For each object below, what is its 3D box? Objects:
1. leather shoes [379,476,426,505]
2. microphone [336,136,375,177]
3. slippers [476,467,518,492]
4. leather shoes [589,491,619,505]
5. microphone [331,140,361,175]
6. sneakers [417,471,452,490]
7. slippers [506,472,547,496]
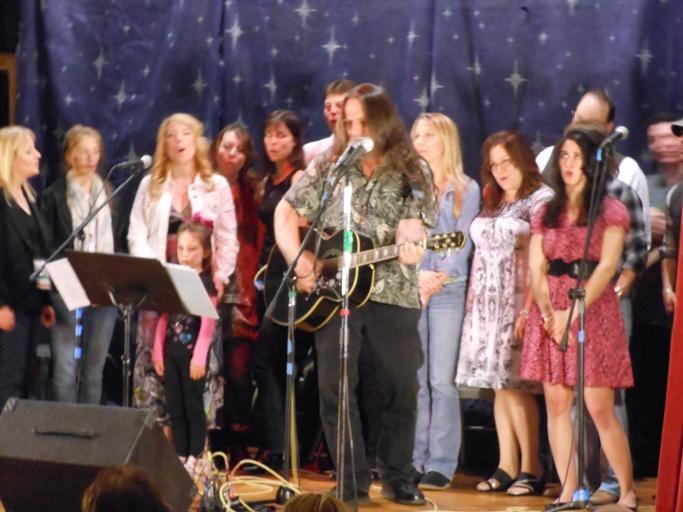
[{"bbox_3d":[0.349,1.336,5.078,0.115,0.122,0.274,-1,-10,-38],"label":"leather shoes"},{"bbox_3d":[0.071,-0.535,4.648,0.055,0.235,0.144,32,29,-16],"label":"microphone"},{"bbox_3d":[0.943,1.358,5.430,0.265,0.091,0.100,4,-6,-32],"label":"slippers"},{"bbox_3d":[1.514,1.404,5.208,0.168,0.074,0.069,-15,19,10],"label":"leather shoes"},{"bbox_3d":[0.038,-0.514,4.650,0.047,0.196,0.109,31,12,-32],"label":"microphone"},{"bbox_3d":[0.554,1.353,5.404,0.169,0.069,0.089,4,-5,-29],"label":"sneakers"},{"bbox_3d":[1.102,1.369,5.335,0.259,0.098,0.104,8,-15,-32],"label":"slippers"}]
